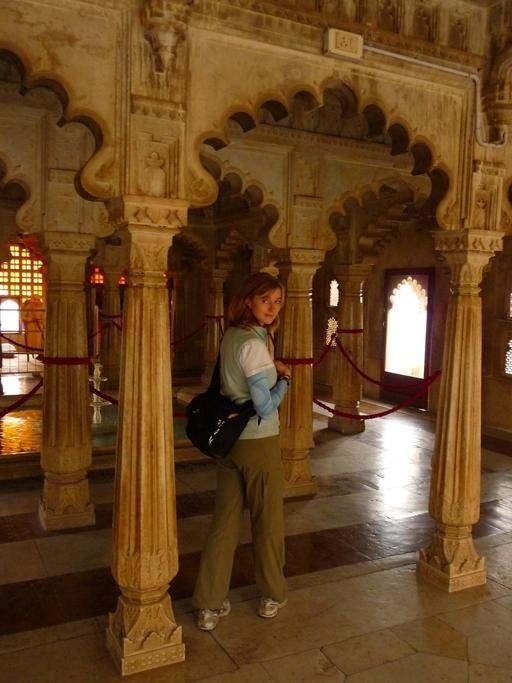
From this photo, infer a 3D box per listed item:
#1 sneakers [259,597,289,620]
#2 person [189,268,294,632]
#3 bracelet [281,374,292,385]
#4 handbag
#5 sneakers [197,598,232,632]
[{"bbox_3d":[0.090,1.431,3.138,0.076,0.076,0.176,1,9,22],"label":"sneakers"},{"bbox_3d":[-0.091,0.569,2.917,0.520,1.838,0.485,1,1,0],"label":"person"},{"bbox_3d":[0.158,0.193,2.965,0.065,0.039,0.059,28,-17,11],"label":"bracelet"},{"bbox_3d":[-0.218,0.413,2.855,0.375,0.331,0.262,-1,13,-21],"label":"handbag"},{"bbox_3d":[-0.219,1.430,3.035,0.079,0.084,0.222,2,8,20],"label":"sneakers"}]
